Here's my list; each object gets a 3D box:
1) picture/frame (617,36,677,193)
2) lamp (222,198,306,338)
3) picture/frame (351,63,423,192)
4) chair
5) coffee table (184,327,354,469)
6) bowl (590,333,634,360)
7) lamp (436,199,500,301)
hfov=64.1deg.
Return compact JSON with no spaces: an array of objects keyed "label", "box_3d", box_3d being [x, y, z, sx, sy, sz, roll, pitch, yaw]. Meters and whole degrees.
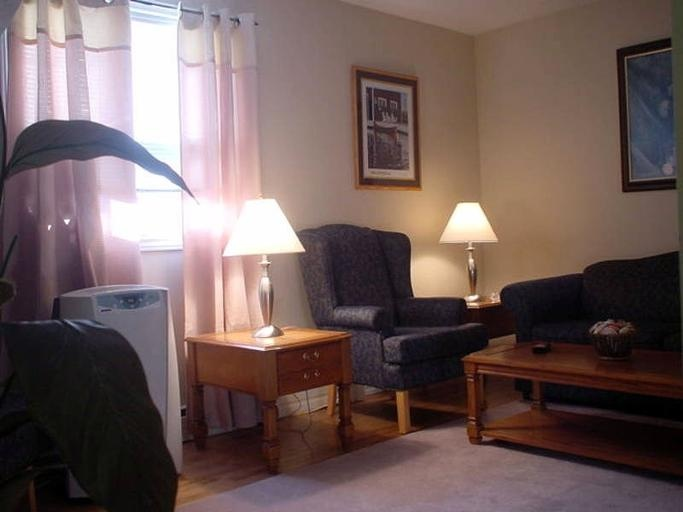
[{"label":"picture/frame","box_3d":[2.254,-1.027,4.007,0.146,1.104,0.415,-3,2,-30]},{"label":"lamp","box_3d":[-0.480,0.049,3.097,0.415,0.571,0.678,-3,1,-24]},{"label":"picture/frame","box_3d":[0.332,-1.004,4.253,0.942,1.318,0.083,-5,5,-40]},{"label":"chair","box_3d":[0.342,0.404,3.613,1.089,1.225,1.089,-2,0,25]},{"label":"coffee table","box_3d":[-0.383,0.746,3.044,0.680,0.665,0.681,-1,-1,38]},{"label":"bowl","box_3d":[1.296,0.420,2.581,0.131,0.073,0.135,-1,-8,0]},{"label":"lamp","box_3d":[1.017,-0.014,4.302,0.482,0.812,0.483,4,-9,-29]}]
